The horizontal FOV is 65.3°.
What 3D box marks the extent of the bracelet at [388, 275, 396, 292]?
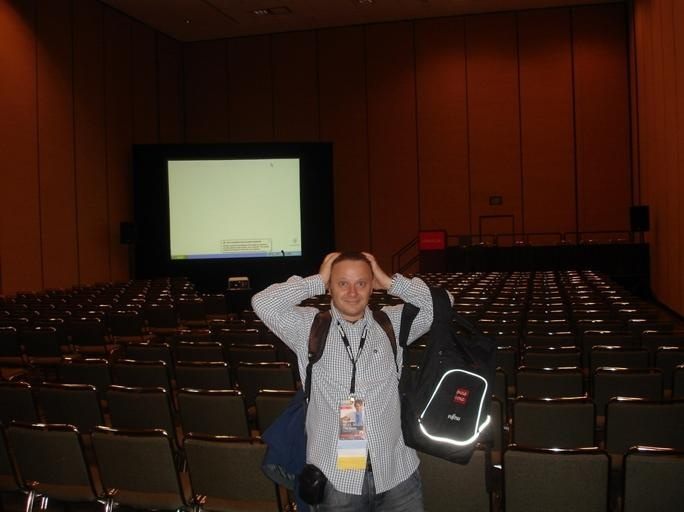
[{"bbox_3d":[0.261,0.140,2.770,0.020,0.071,0.047,14,-3,2],"label":"bracelet"}]
